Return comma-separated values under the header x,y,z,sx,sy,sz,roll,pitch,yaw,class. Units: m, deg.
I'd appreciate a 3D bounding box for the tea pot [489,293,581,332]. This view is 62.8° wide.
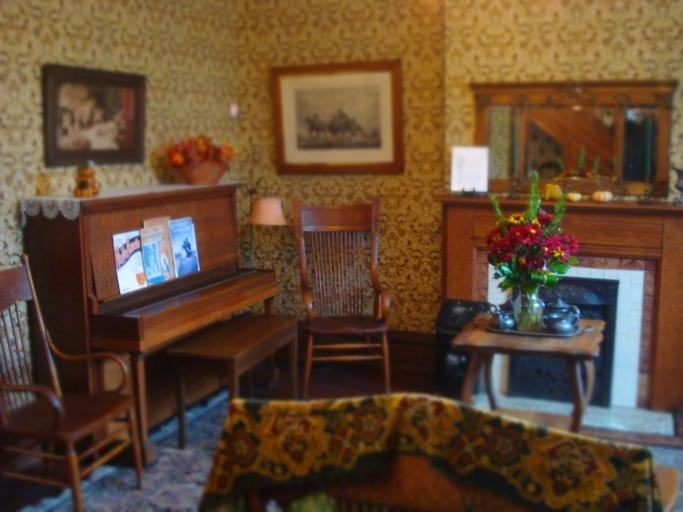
x,y,z,sx,sy,sz,roll,pitch,yaw,class
1.174,0.384,3.407,0.375,0.129,0.298,-1,-1,14,tea pot

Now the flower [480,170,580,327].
x,y,z,sx,sy,sz,roll,pitch,yaw,class
1.239,-0.036,3.611,0.508,0.951,0.908,-3,4,23,flower

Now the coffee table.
x,y,z,sx,sy,sz,roll,pitch,yaw,class
1.174,0.569,3.469,0.833,0.653,0.771,3,10,22,coffee table

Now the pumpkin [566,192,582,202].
x,y,z,sx,sy,sz,roll,pitch,yaw,class
1.789,-0.448,4.289,0.089,0.057,0.096,3,6,14,pumpkin

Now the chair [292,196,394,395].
x,y,z,sx,sy,sz,roll,pitch,yaw,class
-0.010,0.317,4.682,0.776,1.573,1.071,-4,4,1,chair

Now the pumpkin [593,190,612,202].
x,y,z,sx,sy,sz,roll,pitch,yaw,class
1.967,-0.439,4.226,0.092,0.090,0.095,5,6,32,pumpkin

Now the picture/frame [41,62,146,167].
x,y,z,sx,sy,sz,roll,pitch,yaw,class
-1.643,-0.923,3.735,0.057,0.627,0.852,13,16,20,picture/frame

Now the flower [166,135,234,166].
x,y,z,sx,sy,sz,roll,pitch,yaw,class
-1.094,-0.743,4.274,0.316,0.190,0.329,-1,-1,7,flower

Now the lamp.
x,y,z,sx,sy,sz,roll,pitch,yaw,class
-0.696,-0.311,5.098,0.354,0.828,0.592,-5,4,-9,lamp

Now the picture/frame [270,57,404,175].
x,y,z,sx,sy,sz,roll,pitch,yaw,class
-0.001,-1.264,4.958,1.024,0.841,0.042,1,10,15,picture/frame

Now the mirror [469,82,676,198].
x,y,z,sx,sy,sz,roll,pitch,yaw,class
1.841,-0.907,4.306,0.987,0.617,0.085,3,16,16,mirror
